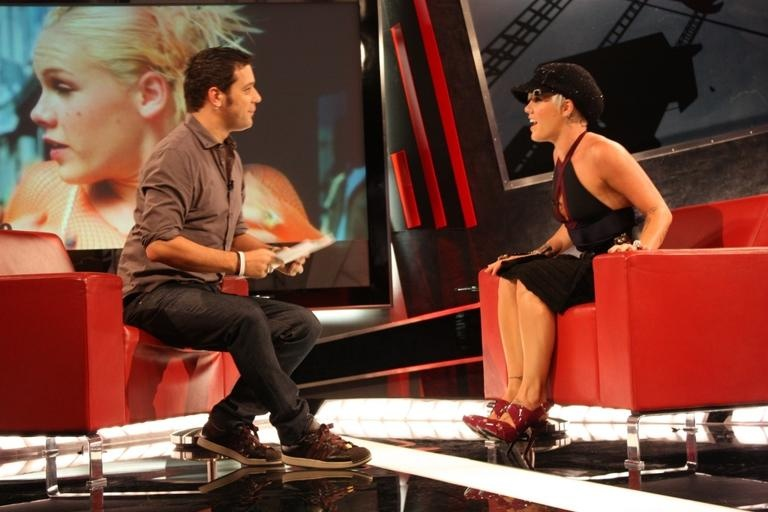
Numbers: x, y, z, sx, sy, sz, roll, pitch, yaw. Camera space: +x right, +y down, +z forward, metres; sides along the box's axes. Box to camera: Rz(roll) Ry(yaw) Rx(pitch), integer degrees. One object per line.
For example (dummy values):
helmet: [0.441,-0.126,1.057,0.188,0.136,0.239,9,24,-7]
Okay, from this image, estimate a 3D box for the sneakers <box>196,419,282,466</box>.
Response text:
sneakers: [-0.629,0.812,3.469,0.415,0.169,0.139,14,28,12]

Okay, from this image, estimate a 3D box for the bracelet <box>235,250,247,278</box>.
bracelet: [-0.598,0.039,3.290,0.034,0.081,0.075,-2,-10,-5]

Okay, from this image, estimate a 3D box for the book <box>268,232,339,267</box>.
book: [-0.318,-0.042,3.417,0.355,0.098,0.094,-23,9,-42]

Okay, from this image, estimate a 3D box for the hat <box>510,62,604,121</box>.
hat: [0.832,-0.806,3.735,0.431,0.190,0.278,18,2,5]

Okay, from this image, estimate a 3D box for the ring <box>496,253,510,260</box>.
ring: [0.595,0.006,3.840,0.053,0.019,0.069,-6,3,32]

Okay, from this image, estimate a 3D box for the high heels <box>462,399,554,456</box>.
high heels: [0.570,0.774,3.503,0.335,0.122,0.229,3,-3,-13]
